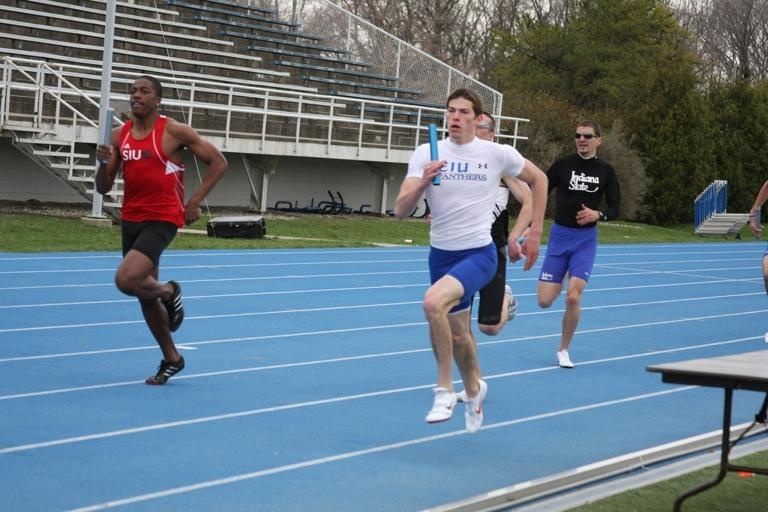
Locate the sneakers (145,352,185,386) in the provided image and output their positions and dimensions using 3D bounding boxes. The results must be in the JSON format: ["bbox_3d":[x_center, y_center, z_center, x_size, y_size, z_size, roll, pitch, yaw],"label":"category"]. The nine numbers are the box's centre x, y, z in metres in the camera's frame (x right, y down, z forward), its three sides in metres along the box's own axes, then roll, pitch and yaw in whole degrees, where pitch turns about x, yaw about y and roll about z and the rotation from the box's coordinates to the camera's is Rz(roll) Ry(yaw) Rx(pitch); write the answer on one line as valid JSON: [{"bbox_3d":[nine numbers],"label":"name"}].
[{"bbox_3d":[-1.854,0.970,5.894,0.157,0.175,0.427,-2,18,47],"label":"sneakers"}]

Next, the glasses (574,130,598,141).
[{"bbox_3d":[2.114,-1.258,7.115,0.223,0.086,0.102,6,10,14],"label":"glasses"}]

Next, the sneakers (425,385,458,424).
[{"bbox_3d":[0.399,1.030,4.762,0.165,0.231,0.315,6,10,12],"label":"sneakers"}]

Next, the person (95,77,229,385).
[{"bbox_3d":[-1.949,-0.219,5.809,1.072,2.567,0.769,3,10,-6],"label":"person"}]

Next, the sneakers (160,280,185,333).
[{"bbox_3d":[-1.867,0.456,6.011,0.173,0.455,0.204,2,12,39],"label":"sneakers"}]

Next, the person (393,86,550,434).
[{"bbox_3d":[0.578,0.048,5.066,0.698,2.520,1.201,12,13,41],"label":"person"}]

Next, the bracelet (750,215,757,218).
[{"bbox_3d":[4.371,-0.483,8.056,0.062,0.014,0.064,3,9,35],"label":"bracelet"}]

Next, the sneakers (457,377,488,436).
[{"bbox_3d":[0.626,1.118,5.030,0.162,0.474,0.212,-3,-3,40],"label":"sneakers"}]

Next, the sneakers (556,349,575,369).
[{"bbox_3d":[1.852,1.032,6.943,0.168,0.154,0.242,6,11,15],"label":"sneakers"}]

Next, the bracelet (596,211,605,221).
[{"bbox_3d":[2.289,-0.431,7.187,0.084,0.101,0.134,-1,0,4],"label":"bracelet"}]
